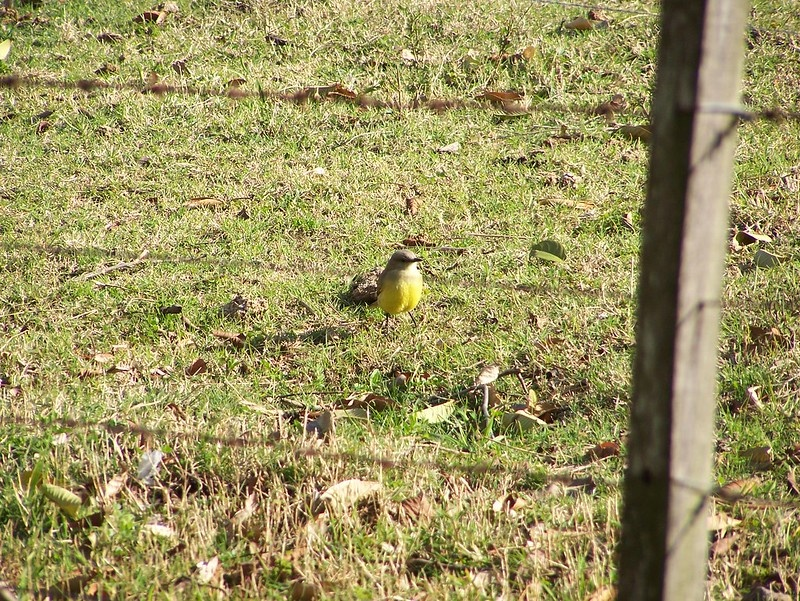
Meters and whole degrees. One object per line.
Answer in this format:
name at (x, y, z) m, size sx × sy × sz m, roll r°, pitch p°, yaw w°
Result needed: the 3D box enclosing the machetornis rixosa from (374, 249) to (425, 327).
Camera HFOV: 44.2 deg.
machetornis rixosa at (-0.006, -0.057, 5.657) m, size 0.250 × 0.435 × 0.281 m, roll -1°, pitch 18°, yaw -2°
